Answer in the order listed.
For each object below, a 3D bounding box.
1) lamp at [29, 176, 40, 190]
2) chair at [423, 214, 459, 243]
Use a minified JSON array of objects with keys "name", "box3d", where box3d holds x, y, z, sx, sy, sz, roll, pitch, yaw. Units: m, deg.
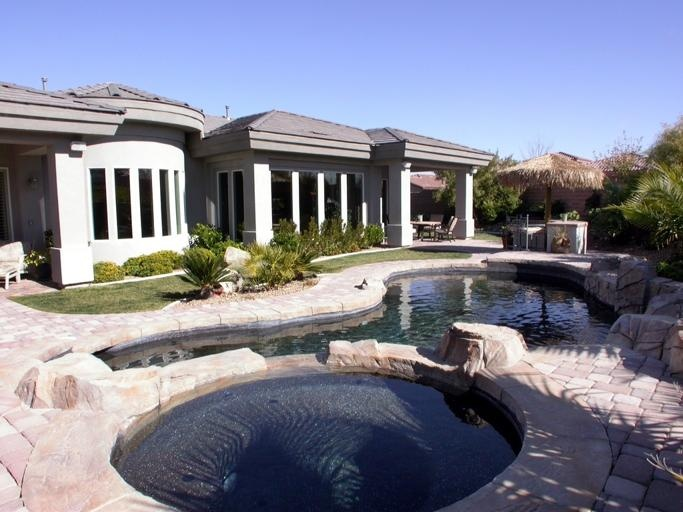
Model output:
[{"name":"lamp","box3d":[-9.098,-2.168,13.566,0.104,0.403,0.297,6,12,18]},{"name":"chair","box3d":[5.084,-1.390,22.904,1.771,1.271,1.325,-1,2,-16]}]
